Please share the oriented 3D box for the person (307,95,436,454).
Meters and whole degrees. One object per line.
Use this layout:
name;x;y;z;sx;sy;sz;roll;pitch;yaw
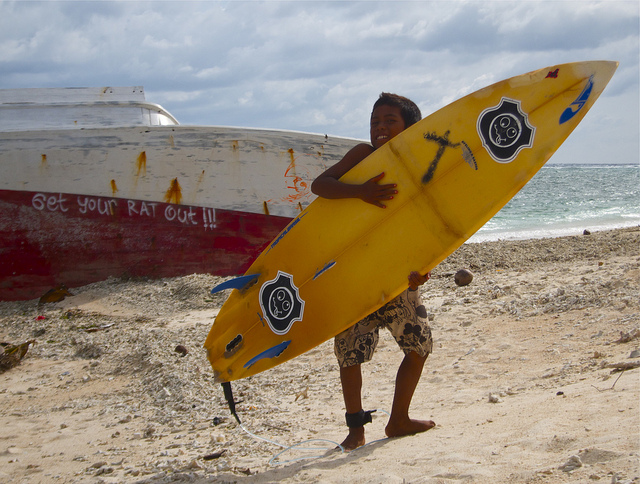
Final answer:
person;0.400;0.272;4.098;0.837;2.564;1.069;-2;15;0
